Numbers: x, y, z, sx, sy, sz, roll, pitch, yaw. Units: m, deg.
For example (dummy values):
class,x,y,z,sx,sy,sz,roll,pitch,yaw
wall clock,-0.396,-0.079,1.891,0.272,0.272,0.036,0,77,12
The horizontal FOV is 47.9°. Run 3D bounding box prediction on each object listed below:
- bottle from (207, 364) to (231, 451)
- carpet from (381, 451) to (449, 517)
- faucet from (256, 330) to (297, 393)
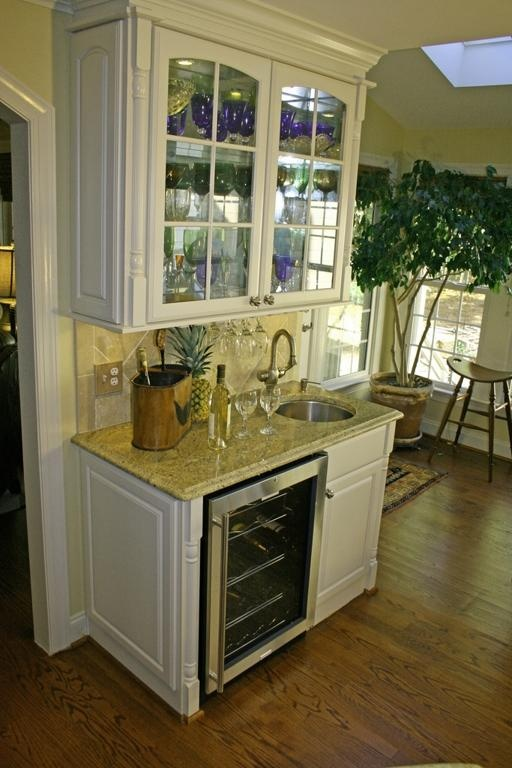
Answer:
class,x,y,z,sx,sy,sz,roll,pitch,yaw
bottle,-0.120,0.065,1.895,0.067,0.273,0.118,2,11,-5
carpet,1.014,0.658,3.870,0.491,0.184,0.676,12,18,24
faucet,0.086,-0.073,2.235,0.135,0.274,0.126,-5,20,-32
